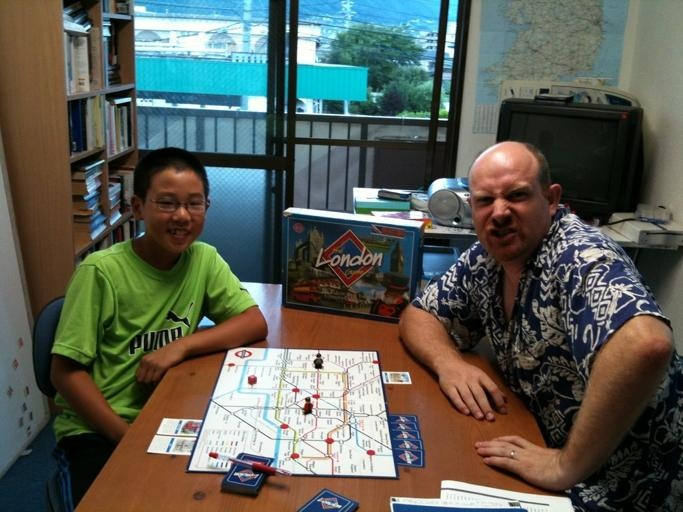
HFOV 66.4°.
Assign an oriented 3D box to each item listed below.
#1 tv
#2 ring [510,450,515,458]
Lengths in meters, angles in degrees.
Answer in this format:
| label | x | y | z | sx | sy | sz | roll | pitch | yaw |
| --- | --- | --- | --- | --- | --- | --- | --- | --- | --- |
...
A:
| label | x | y | z | sx | sy | sz | roll | pitch | yaw |
| --- | --- | --- | --- | --- | --- | --- | --- | --- | --- |
| tv | 1.322 | -0.542 | 3.404 | 0.876 | 0.843 | 0.478 | 3 | -1 | -4 |
| ring | 0.429 | 0.501 | 1.315 | 0.012 | 0.008 | 0.018 | 5 | 18 | 18 |
